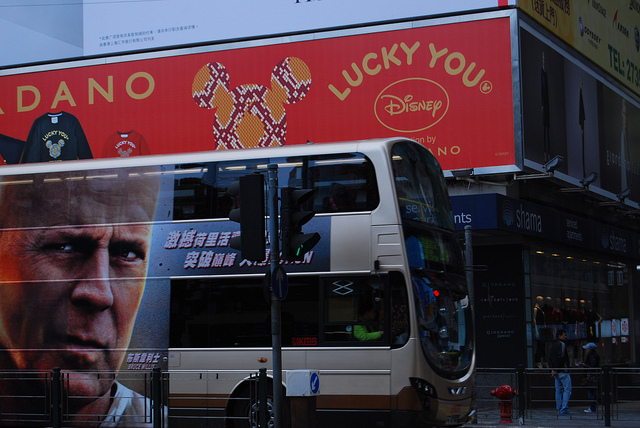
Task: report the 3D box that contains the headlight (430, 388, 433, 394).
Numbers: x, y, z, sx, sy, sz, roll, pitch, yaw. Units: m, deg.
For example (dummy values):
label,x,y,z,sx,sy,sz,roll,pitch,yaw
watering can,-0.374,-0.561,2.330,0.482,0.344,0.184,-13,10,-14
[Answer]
label,x,y,z,sx,sy,sz,roll,pitch,yaw
headlight,3.031,4.855,34.841,0.039,0.157,0.162,5,-8,-24

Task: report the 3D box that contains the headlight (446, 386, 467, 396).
label,x,y,z,sx,sy,sz,roll,pitch,yaw
headlight,3.805,4.908,35.348,0.767,0.269,0.079,10,-16,-43

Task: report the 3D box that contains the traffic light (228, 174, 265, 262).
label,x,y,z,sx,sy,sz,roll,pitch,yaw
traffic light,-1.887,0.102,32.489,0.824,2.150,0.410,-2,-12,5

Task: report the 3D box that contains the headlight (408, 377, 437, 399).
label,x,y,z,sx,sy,sz,roll,pitch,yaw
headlight,2.815,4.747,34.776,0.482,0.241,0.668,7,-13,33

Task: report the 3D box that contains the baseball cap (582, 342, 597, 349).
label,x,y,z,sx,sy,sz,roll,pitch,yaw
baseball cap,9.094,4.429,42.589,0.557,0.234,0.360,-1,-3,5

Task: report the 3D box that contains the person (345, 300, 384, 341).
label,x,y,z,sx,sy,sz,roll,pitch,yaw
person,1.273,2.940,35.322,1.058,1.224,1.630,-3,12,9

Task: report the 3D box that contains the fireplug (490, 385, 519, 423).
label,x,y,z,sx,sy,sz,roll,pitch,yaw
fireplug,5.966,5.925,39.604,1.100,1.196,1.059,0,-6,-1
